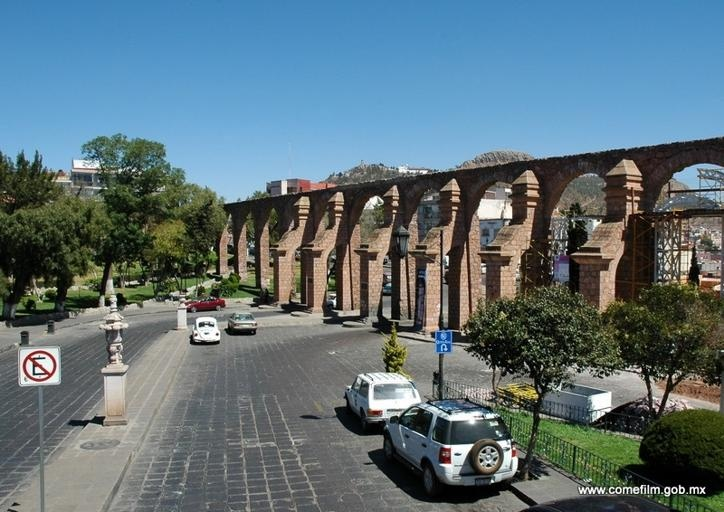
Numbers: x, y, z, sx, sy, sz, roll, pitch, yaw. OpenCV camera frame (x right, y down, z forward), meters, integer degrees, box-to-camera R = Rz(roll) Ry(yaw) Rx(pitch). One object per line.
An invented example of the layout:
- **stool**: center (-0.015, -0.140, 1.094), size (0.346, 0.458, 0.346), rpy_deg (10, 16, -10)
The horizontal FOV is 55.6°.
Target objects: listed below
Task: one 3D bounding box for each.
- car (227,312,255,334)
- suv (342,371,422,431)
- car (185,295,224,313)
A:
- **car**: center (-7.780, 4.432, 44.344), size (1.532, 0.987, 1.913), rpy_deg (2, 0, -20)
- **suv**: center (0.588, 5.358, 25.175), size (1.526, 1.268, 2.678), rpy_deg (-1, 4, -15)
- **car**: center (-13.252, 4.078, 58.176), size (2.531, 0.946, 1.315), rpy_deg (4, -4, -25)
